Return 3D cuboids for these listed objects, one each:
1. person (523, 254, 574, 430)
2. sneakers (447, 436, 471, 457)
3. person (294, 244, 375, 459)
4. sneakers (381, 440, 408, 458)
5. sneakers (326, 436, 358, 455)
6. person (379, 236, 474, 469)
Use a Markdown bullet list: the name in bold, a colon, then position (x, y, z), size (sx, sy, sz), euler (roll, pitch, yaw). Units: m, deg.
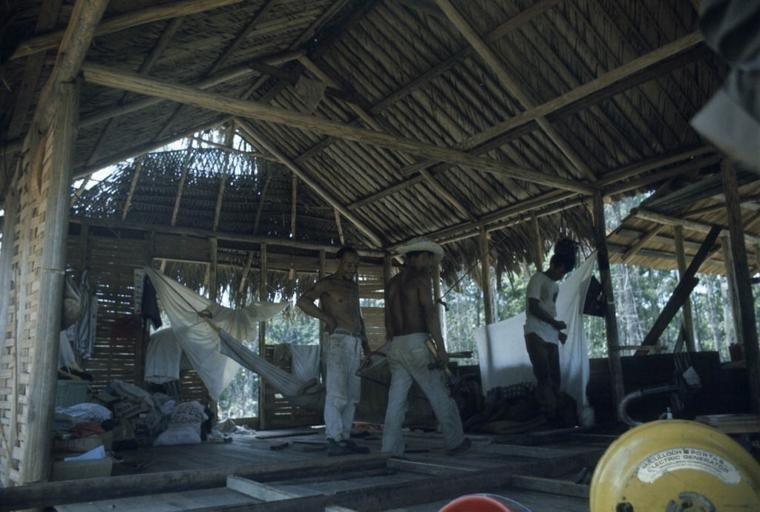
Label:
- **person**: position (1.751, 0.855, 7.144), size (0.483, 1.736, 0.543), euler (-2, -11, 9)
- **sneakers**: position (0.696, 1.646, 5.997), size (0.249, 0.108, 0.092), euler (-30, -14, -17)
- **person**: position (-0.417, 0.827, 6.269), size (0.614, 1.845, 0.495), euler (0, -11, -2)
- **sneakers**: position (0.129, 1.667, 5.822), size (0.202, 0.144, 0.122), euler (3, -20, -12)
- **sneakers**: position (-0.332, 1.652, 6.007), size (0.294, 0.211, 0.101), euler (-3, -9, -8)
- **person**: position (0.376, 0.771, 6.062), size (0.710, 1.876, 0.480), euler (0, -11, -1)
